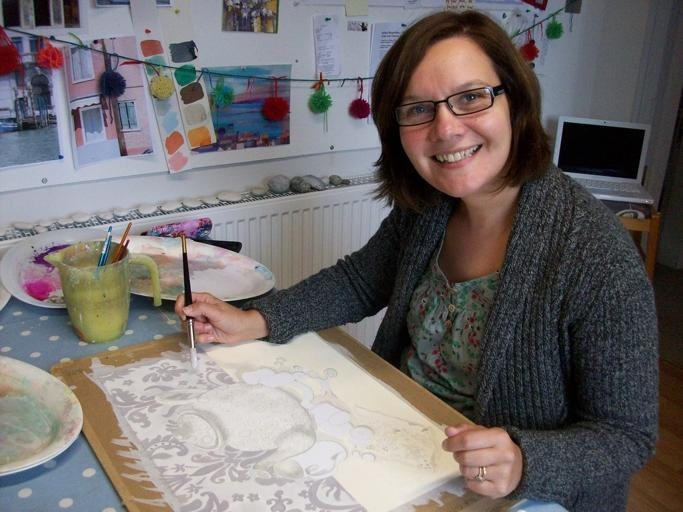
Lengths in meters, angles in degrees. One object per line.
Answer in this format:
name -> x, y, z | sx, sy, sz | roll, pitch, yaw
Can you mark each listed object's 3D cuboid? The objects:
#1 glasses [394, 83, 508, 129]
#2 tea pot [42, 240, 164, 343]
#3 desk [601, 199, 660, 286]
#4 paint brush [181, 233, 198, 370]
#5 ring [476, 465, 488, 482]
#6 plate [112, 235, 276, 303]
glasses -> 0.190, -0.273, 0.950 | 0.176, 0.071, 0.058 | 2, 22, 9
tea pot -> -0.458, 0.063, 1.049 | 0.279, 0.215, 0.183 | -4, 16, -23
desk -> 1.159, -0.009, 2.178 | 0.210, 0.363, 0.209 | 12, -7, -7
paint brush -> -0.311, 0.101, 1.049 | 0.021, 0.272, 0.021 | -7, 3, 3
ring -> 0.194, 0.302, 0.713 | 0.019, 0.008, 0.018 | 10, 57, -16
plate -> -0.357, 0.052, 1.278 | 0.353, 0.050, 0.160 | 11, 49, 0
